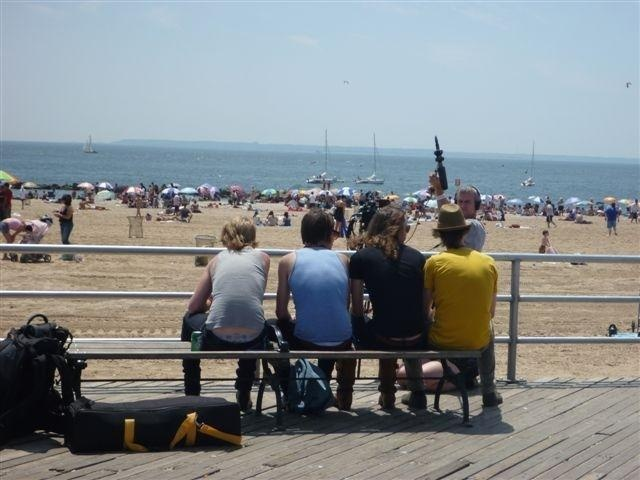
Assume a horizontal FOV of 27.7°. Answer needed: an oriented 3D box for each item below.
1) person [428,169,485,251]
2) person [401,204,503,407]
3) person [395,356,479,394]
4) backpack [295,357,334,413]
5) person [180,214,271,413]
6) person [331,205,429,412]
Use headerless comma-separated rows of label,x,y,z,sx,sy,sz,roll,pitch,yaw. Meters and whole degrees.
person,1.825,-0.350,16.675,0.499,1.195,0.521,-1,11,-17
person,1.676,0.778,16.223,1.057,2.280,1.112,0,1,-22
person,1.486,1.694,16.358,0.819,0.470,1.052,4,5,38
backpack,-0.079,1.801,15.914,0.486,0.778,0.582,-5,9,-16
person,-1.055,0.916,16.074,0.971,2.396,1.161,0,8,-14
person,0.762,0.824,15.903,0.935,2.421,1.018,0,0,6
